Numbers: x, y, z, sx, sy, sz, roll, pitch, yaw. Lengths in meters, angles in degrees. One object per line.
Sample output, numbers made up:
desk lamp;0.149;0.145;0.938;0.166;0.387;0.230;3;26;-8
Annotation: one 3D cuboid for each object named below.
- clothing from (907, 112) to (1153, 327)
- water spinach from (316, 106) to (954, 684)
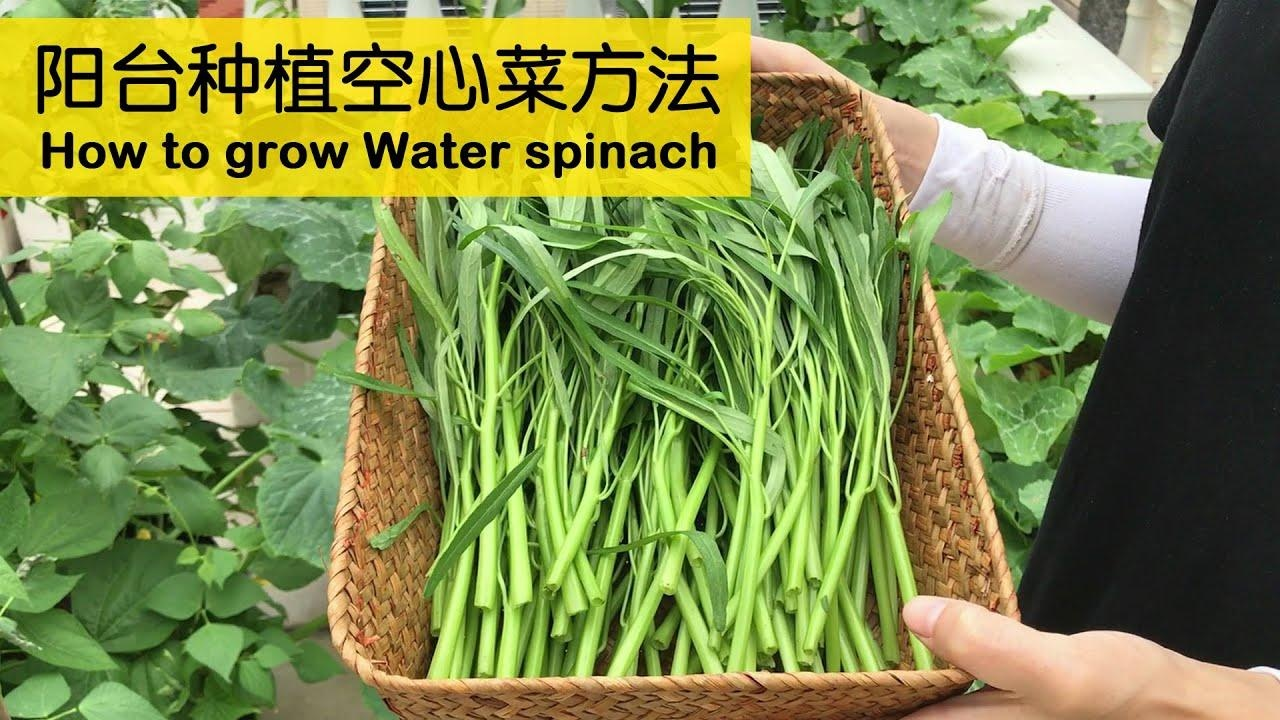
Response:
clothing;0.617;-0.222;1.507;0.236;0.437;0.266;5;3;-4
water spinach;0.045;0.117;1.398;0.651;0.271;0.735;-1;66;-1
